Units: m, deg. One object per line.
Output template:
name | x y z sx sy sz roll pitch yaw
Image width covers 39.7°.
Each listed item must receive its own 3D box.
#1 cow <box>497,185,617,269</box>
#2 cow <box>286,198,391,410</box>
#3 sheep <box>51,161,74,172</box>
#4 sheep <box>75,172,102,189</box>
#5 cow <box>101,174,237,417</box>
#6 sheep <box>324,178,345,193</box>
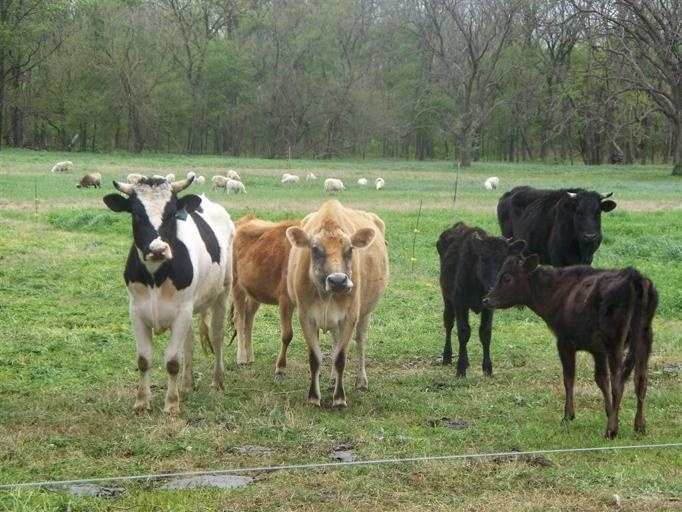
cow | 6.367 -0.430 28.150 1.784 3.186 5.929 -5 5 -10
cow | -0.010 1.057 23.066 1.979 4.886 2.593 2 4 29
sheep | -15.857 -5.113 53.757 1.065 0.581 1.419 -1 4 -18
sheep | -12.145 -3.620 45.620 0.522 0.926 1.612 4 5 23
cow | -3.815 0.838 22.464 1.338 5.502 2.671 2 4 35
sheep | -0.364 -3.755 49.874 1.057 0.656 2.017 0 4 0
